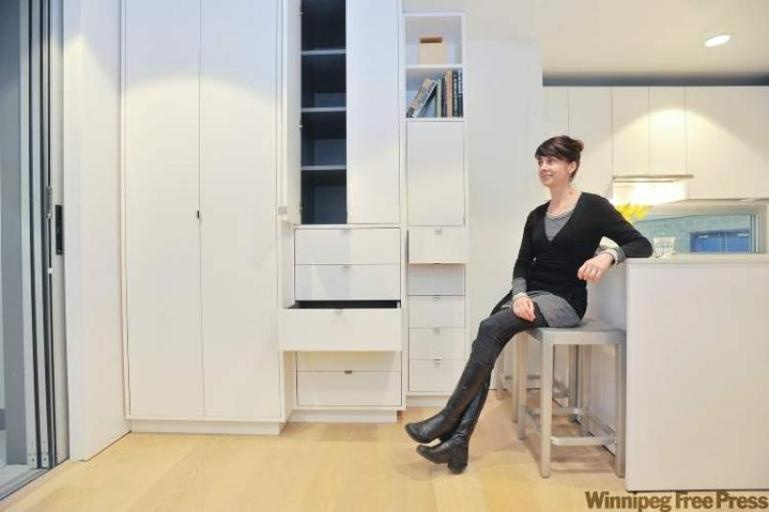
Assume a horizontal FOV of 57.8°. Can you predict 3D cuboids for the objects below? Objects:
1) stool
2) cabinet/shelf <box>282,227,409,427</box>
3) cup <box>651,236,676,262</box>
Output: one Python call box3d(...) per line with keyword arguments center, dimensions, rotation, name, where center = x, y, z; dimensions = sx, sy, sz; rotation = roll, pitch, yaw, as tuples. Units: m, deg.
box3d(center=(1.174, 0.868, 4.697), dimensions=(0.576, 0.921, 0.964), rotation=(-1, 7, -4), name="stool")
box3d(center=(-0.284, 0.466, 5.294), dimensions=(0.873, 1.392, 1.260), rotation=(0, 0, 2), name="cabinet/shelf")
box3d(center=(1.833, -0.058, 4.581), dimensions=(0.139, 0.126, 0.164), rotation=(2, 8, 21), name="cup")
